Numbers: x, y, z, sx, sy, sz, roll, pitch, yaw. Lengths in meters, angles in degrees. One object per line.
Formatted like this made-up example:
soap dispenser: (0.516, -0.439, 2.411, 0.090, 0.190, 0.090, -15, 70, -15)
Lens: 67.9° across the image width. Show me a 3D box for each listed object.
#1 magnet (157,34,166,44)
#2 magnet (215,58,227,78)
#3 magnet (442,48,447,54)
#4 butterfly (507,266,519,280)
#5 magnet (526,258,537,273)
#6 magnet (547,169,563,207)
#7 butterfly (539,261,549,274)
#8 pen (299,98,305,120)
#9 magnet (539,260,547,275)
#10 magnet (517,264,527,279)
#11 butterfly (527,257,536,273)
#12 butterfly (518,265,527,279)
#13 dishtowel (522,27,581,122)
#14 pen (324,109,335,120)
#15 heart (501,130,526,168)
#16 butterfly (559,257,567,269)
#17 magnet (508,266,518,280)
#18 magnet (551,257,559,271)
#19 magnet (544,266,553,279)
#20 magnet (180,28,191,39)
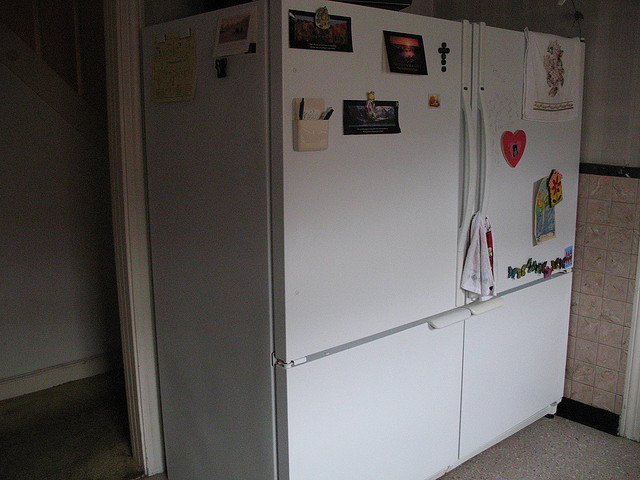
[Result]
magnet: (-0.698, -0.880, 2.086, 0.063, 0.039, 0.006, 9, 16, 41)
magnet: (-0.397, -0.680, 1.894, 0.066, 0.072, 0.015, 8, 15, 38)
magnet: (0.553, -0.829, 2.101, 0.018, 0.021, 0.005, 1, 0, -13)
butterfly: (1.029, 0.181, 2.542, 0.047, 0.069, 0.022, 4, 6, 17)
magnet: (1.166, 0.151, 2.626, 0.062, 0.065, 0.016, 4, 0, -41)
magnet: (1.300, -0.289, 2.633, 0.030, 0.207, 0.165, 4, 11, 44)
butterfly: (1.268, 0.162, 2.693, 0.055, 0.066, 0.018, 2, 1, -42)
pen: (-0.069, -0.486, 1.777, 0.010, 0.075, 0.025, 6, 14, 33)
magnet: (1.265, 0.162, 2.689, 0.057, 0.062, 0.016, -32, 16, -15)
magnet: (1.098, 0.175, 2.584, 0.016, 0.072, 0.055, 22, -15, 35)
butterfly: (1.163, 0.150, 2.624, 0.015, 0.070, 0.066, 4, 0, 35)
butterfly: (1.101, 0.176, 2.586, 0.015, 0.058, 0.059, 5, -33, 44)
dishtowel: (1.241, -0.872, 2.519, 0.397, 0.444, 0.048, -3, 6, -18)
pen: (0.034, -0.479, 1.837, 0.017, 0.069, 0.017, 18, -15, 28)
heart: (0.979, -0.466, 2.417, 0.016, 0.176, 0.161, 2, 10, 41)
butterfly: (1.427, 0.136, 2.794, 0.054, 0.059, 0.005, -18, 22, -38)
magnet: (1.032, 0.179, 2.543, 0.042, 0.057, 0.014, 23, -11, -42)
magnet: (1.365, 0.145, 2.754, 0.061, 0.066, 0.015, -18, 15, -31)
magnet: (1.310, 0.187, 2.721, 0.021, 0.073, 0.048, 8, 1, -4)
magnet: (-0.568, -0.854, 1.985, 0.038, 0.042, 0.010, 1, 4, 26)
